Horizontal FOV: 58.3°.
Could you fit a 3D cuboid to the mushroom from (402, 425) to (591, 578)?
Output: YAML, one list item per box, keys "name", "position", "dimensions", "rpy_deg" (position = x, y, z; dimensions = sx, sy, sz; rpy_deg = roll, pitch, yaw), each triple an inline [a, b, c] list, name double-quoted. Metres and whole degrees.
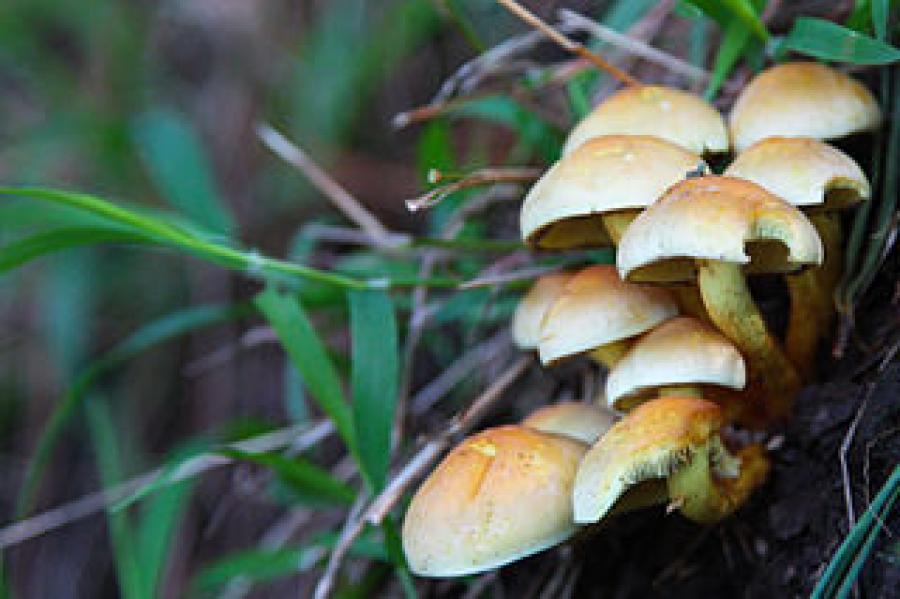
- name: "mushroom"
  position: [0.159, 0.671, 2.662]
  dimensions: [0.509, 0.237, 0.596]
  rpy_deg: [0, 43, 37]

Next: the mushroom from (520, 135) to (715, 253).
- name: "mushroom"
  position: [0.543, -0.371, 2.743]
  dimensions: [0.445, 0.300, 0.425]
  rpy_deg: [-16, 0, -33]

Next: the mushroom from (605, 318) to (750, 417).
- name: "mushroom"
  position: [0.802, 0.147, 2.746]
  dimensions: [0.440, 0.239, 0.479]
  rpy_deg: [10, 8, 28]
